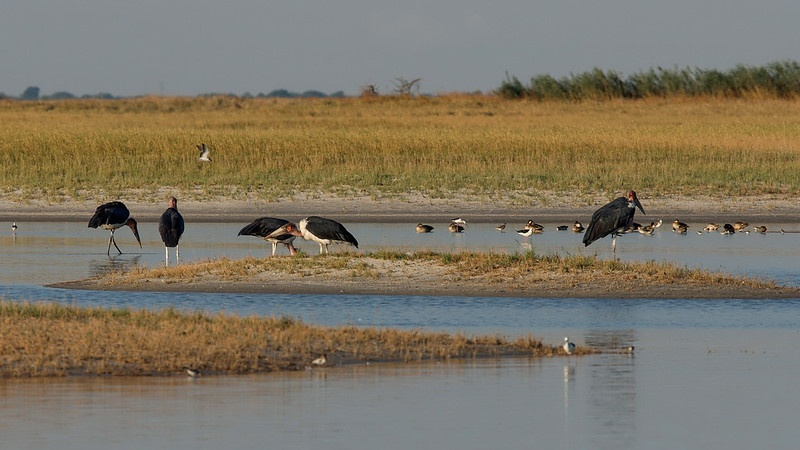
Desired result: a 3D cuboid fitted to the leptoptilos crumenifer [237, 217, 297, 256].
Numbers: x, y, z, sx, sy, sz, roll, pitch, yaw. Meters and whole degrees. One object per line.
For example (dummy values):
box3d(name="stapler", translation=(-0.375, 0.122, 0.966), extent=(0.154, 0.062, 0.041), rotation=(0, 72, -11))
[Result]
box3d(name="leptoptilos crumenifer", translation=(-4.518, 0.235, 49.294), extent=(2.631, 0.928, 0.963), rotation=(17, 8, 38))
